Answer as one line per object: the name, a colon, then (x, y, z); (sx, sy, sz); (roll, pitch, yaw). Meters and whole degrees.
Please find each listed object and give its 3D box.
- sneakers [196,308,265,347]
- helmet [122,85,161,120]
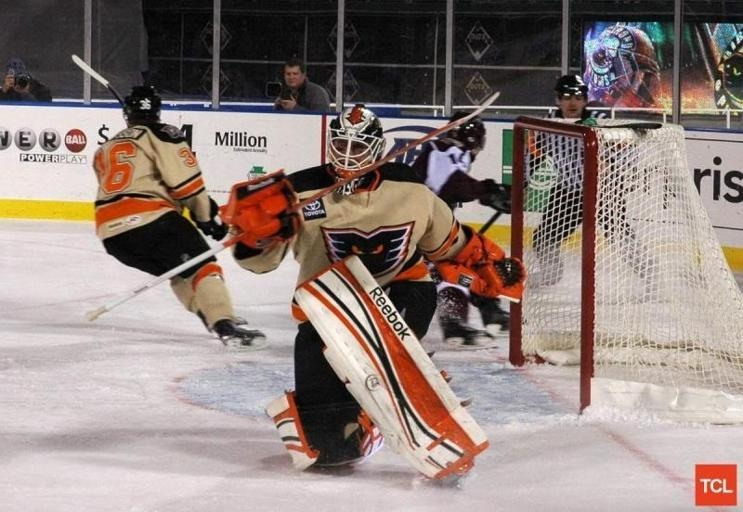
sneakers: (-0.780, 0.427, 5.880); (0.495, 0.131, 0.200); (14, 6, 30)
helmet: (-1.449, -0.967, 6.279); (0.243, 0.215, 0.250); (1, 20, -8)
